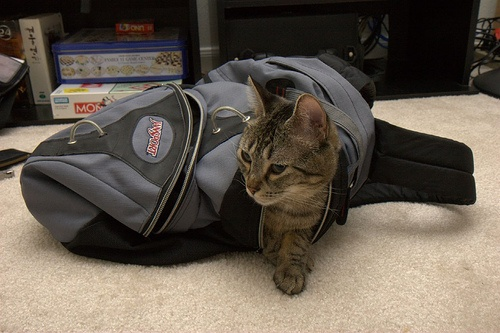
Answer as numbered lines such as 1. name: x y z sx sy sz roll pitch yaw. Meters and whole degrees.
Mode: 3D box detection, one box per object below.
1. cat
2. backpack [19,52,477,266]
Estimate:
1. cat: 0.078 0.041 1.179 0.269 0.519 0.209 21 33 38
2. backpack: -0.048 -0.030 1.264 0.937 0.305 0.718 -20 37 -22
